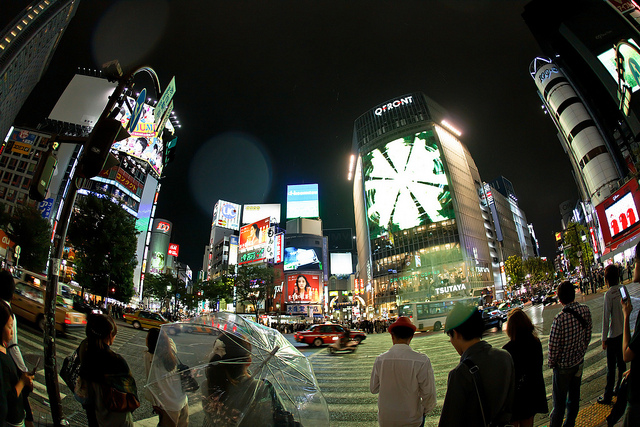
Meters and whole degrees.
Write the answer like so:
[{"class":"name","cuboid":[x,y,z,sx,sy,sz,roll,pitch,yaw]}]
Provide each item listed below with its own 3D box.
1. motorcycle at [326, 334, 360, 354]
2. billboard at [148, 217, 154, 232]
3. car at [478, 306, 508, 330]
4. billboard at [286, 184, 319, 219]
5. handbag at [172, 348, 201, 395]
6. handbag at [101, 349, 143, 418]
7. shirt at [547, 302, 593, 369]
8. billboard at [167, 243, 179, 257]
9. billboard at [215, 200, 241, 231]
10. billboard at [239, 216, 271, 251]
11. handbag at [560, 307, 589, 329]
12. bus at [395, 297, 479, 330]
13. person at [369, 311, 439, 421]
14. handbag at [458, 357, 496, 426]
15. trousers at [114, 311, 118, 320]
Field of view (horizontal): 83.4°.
[{"class":"motorcycle","cuboid":[1.315,7.974,22.016,1.881,1.165,1.026,5,-57,-1]},{"class":"billboard","cuboid":[-39.089,3.152,82.275,0.440,3.762,5.828,6,-21,-21]},{"class":"car","cuboid":[12.961,7.629,26.721,1.034,1.731,3.771,-14,-22,31]},{"class":"billboard","cuboid":[-4.908,-2.933,101.182,12.403,14.490,0.718,-3,-47,-3]},{"class":"handbag","cuboid":[-2.855,3.343,7.616,0.562,0.881,0.205,-3,-19,2]},{"class":"handbag","cuboid":[-4.244,3.560,7.607,0.780,1.350,0.470,10,-22,-30]},{"class":"shirt","cuboid":[6.025,3.061,8.650,0.689,1.828,0.845,3,11,39]},{"class":"billboard","cuboid":[-47.507,11.580,115.140,1.956,4.101,6.042,2,-20,-11]},{"class":"billboard","cuboid":[-31.133,1.010,118.525,8.119,9.959,1.308,16,-28,-38]},{"class":"billboard","cuboid":[-16.833,5.260,92.623,11.034,6.800,0.125,-15,-26,28]},{"class":"handbag","cuboid":[6.178,2.500,8.657,0.588,0.505,0.141,1,-19,-10]},{"class":"bus","cuboid":[12.827,10.344,37.883,10.585,3.020,2.788,3,-10,-31]},{"class":"person","cuboid":[1.731,3.272,7.678,1.310,2.072,0.503,-6,-19,12]},{"class":"handbag","cuboid":[2.972,3.295,6.718,0.539,1.129,0.204,11,-23,-32]},{"class":"trousers","cuboid":[-19.489,9.494,34.143,0.270,0.620,1.577,9,-23,-29]}]
